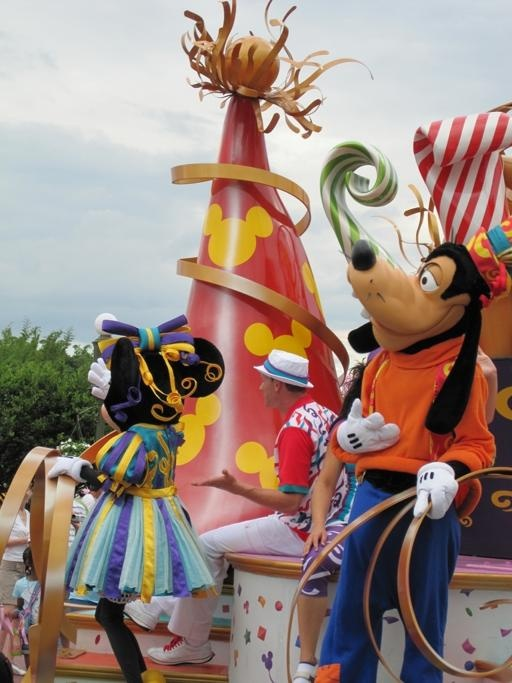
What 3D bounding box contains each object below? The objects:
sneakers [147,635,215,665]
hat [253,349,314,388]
[{"bbox_3d":[-0.293,1.240,3.325,0.313,0.105,0.096,2,-8,0],"label":"sneakers"},{"bbox_3d":[0.123,0.102,3.283,0.211,0.065,0.166,20,8,2],"label":"hat"}]
